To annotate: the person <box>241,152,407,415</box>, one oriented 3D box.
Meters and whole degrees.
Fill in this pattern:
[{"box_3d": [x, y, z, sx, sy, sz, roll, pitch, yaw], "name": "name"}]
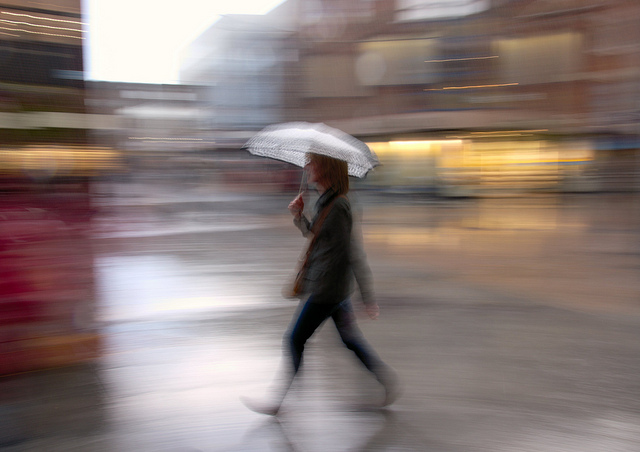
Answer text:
[{"box_3d": [0.034, 0.568, 4.148, 1.105, 2.340, 0.840, -13, 21, -37], "name": "person"}]
